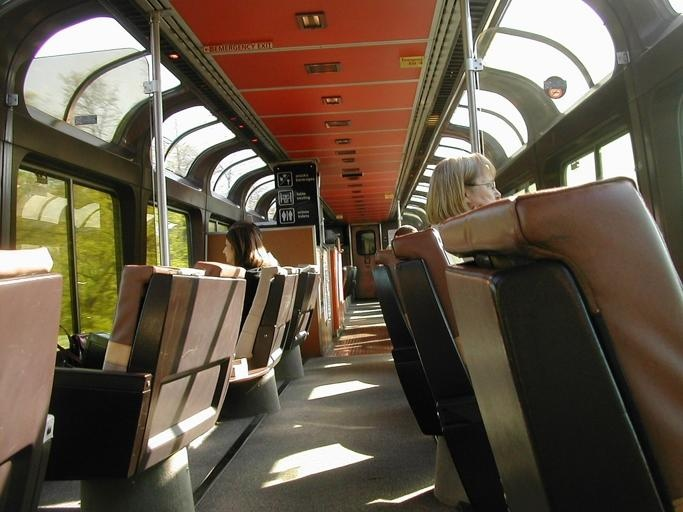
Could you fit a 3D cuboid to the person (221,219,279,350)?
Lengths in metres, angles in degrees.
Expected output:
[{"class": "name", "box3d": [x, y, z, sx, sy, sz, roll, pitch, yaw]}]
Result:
[{"class": "person", "box3d": [-0.831, 0.147, 4.362, 0.478, 0.980, 1.012, -2, -3, -12]}]
